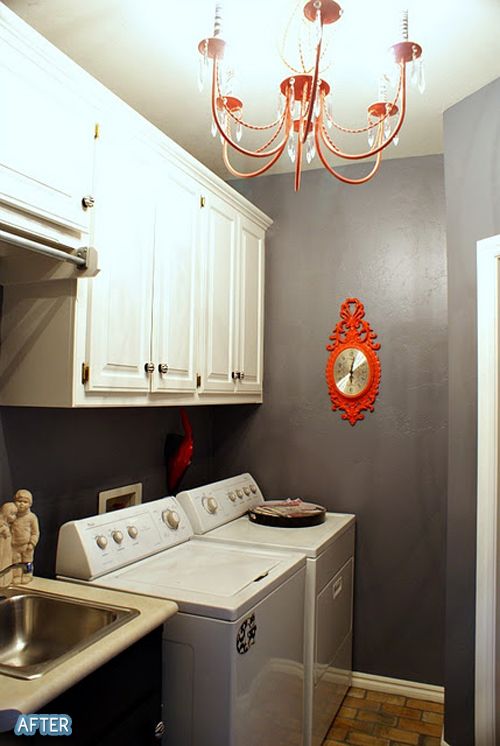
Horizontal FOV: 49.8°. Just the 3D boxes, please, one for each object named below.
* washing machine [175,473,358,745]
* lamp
[{"bbox_3d":[0.119,0.815,2.716,0.764,1.655,1.136,-1,0,21],"label":"washing machine"},{"bbox_3d":[0.200,-0.920,1.756,0.517,0.489,0.495,1,-13,0],"label":"lamp"}]
